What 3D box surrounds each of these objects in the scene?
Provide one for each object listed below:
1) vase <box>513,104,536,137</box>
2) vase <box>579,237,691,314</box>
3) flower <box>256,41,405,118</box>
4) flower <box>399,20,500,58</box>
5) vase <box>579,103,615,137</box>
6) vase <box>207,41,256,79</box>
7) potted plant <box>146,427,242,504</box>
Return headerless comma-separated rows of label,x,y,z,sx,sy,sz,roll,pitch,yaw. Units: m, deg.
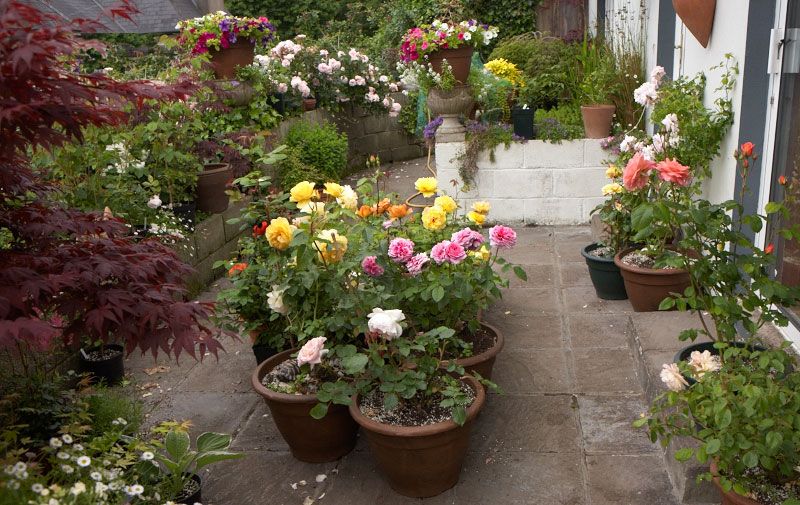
vase,1.467,-1.579,6.471,0.249,0.357,0.282,1,33,12
vase,1.834,0.218,4.373,0.594,0.277,0.616,8,20,32
flower,-1.122,-2.854,8.858,1.695,0.767,1.649,21,15,-30
flower,0.681,-2.571,6.606,0.837,0.272,0.799,-6,21,-20
vase,2.303,-1.519,6.305,0.383,0.332,0.370,-12,16,-37
vase,-2.120,-2.452,6.916,0.496,0.374,0.482,-9,19,-29
potted plant,-1.091,1.119,2.919,0.450,0.238,0.430,7,20,-5
